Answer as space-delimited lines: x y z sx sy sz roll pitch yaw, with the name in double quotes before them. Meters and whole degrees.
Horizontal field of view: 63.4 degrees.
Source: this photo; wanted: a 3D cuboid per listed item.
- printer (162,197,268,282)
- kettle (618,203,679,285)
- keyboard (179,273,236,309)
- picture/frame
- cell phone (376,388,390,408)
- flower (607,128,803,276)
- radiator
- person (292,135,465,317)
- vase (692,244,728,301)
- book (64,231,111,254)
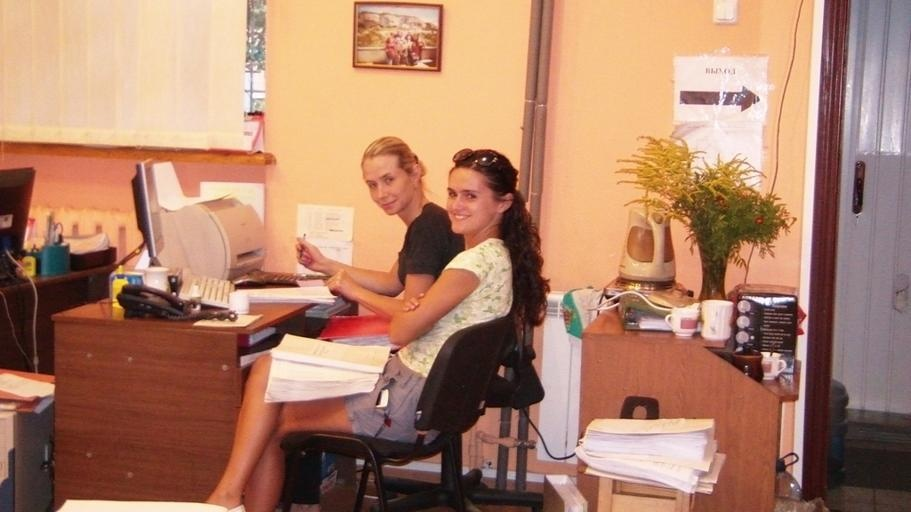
"printer" -1.312 -0.087 4.050 0.450 0.364 0.492 39 12 13
"kettle" 1.024 -0.060 3.966 0.239 0.432 0.191 0 4 20
"keyboard" -1.239 0.185 3.727 0.313 0.070 0.312 5 26 -35
"picture/frame" -0.351 -1.315 4.438 0.521 0.399 0.025 1 7 4
"cell phone" -0.337 0.662 3.415 0.073 0.095 0.056 8 -22 7
"flower" 1.382 -0.302 4.121 1.097 0.796 0.624 2 12 13
"radiator" 0.631 0.749 4.476 0.307 0.882 0.152 0 1 -32
"person" -0.430 -0.176 4.010 0.665 1.212 0.856 1 2 -3
"vase" 1.313 0.091 3.773 0.134 0.273 0.217 4 7 24
"book" -2.218 -0.073 4.444 0.248 0.109 0.248 -2 6 -27
